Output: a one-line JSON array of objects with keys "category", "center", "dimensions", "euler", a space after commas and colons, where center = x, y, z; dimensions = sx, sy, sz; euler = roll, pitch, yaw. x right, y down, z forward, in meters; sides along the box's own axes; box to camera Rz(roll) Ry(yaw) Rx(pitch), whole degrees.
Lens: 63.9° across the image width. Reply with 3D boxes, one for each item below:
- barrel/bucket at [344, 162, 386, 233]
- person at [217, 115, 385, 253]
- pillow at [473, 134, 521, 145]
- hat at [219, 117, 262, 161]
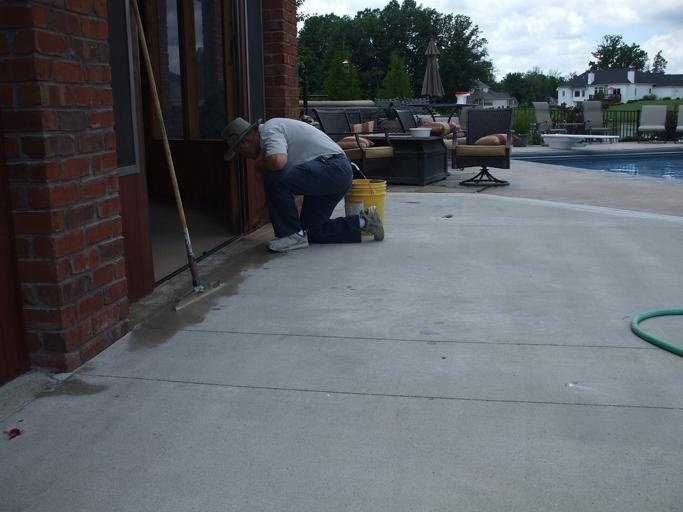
[{"category": "barrel/bucket", "center": [0.215, -0.576, 5.380], "dimensions": [0.462, 0.733, 0.526], "euler": [-4, 10, -22]}, {"category": "person", "center": [-0.351, -0.635, 4.884], "dimensions": [1.439, 1.164, 0.844], "euler": [0, 3, 4]}, {"category": "pillow", "center": [2.316, -1.735, 8.232], "dimensions": [0.497, 0.144, 0.406], "euler": [-10, 17, -19]}, {"category": "hat", "center": [-0.843, -0.965, 4.431], "dimensions": [0.266, 0.396, 0.312], "euler": [2, 8, 17]}]
